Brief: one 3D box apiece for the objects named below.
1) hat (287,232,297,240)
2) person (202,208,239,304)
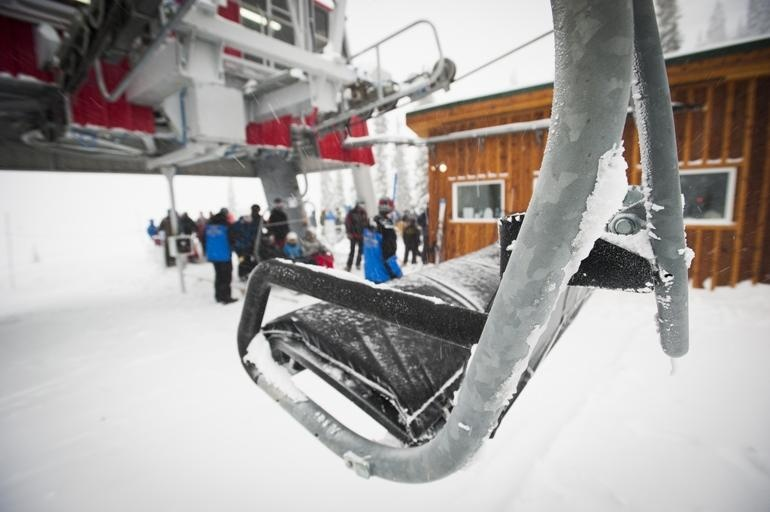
[{"bbox_3d":[-1.668,-0.363,8.569,0.160,0.124,0.211,-5,14,-10],"label":"hat"},{"bbox_3d":[-2.862,0.013,8.358,0.474,1.632,0.379,-7,15,-18],"label":"person"}]
